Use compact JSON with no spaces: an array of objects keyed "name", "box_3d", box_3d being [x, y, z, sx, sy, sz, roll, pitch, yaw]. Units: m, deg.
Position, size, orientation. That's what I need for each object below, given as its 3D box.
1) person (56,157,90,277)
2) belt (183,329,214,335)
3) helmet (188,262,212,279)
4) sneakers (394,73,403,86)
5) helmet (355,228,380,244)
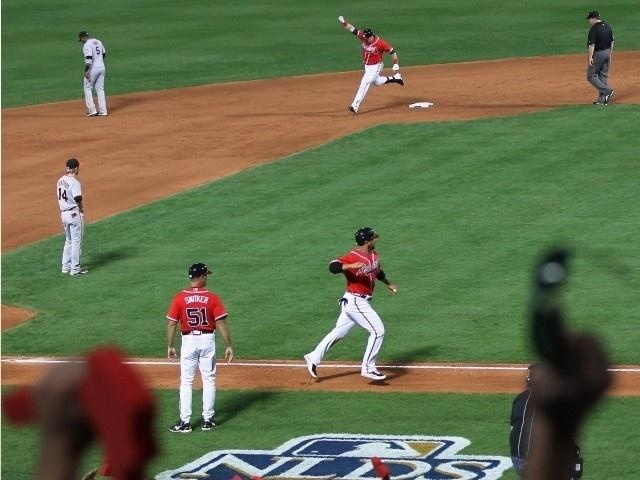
[{"name":"person","box_3d":[-6.291,-0.545,38.522,0.612,2.946,0.897,-5,6,-9]},{"name":"belt","box_3d":[-2.687,1.992,33.291,0.695,0.117,0.135,-2,5,-2]},{"name":"helmet","box_3d":[-2.614,0.640,33.550,0.377,0.198,0.459,4,15,24]},{"name":"sneakers","box_3d":[2.299,-4.704,44.667,0.254,0.223,0.589,-7,25,-11]},{"name":"helmet","box_3d":[1.098,-0.061,34.633,0.524,0.234,0.354,-11,29,-12]}]
